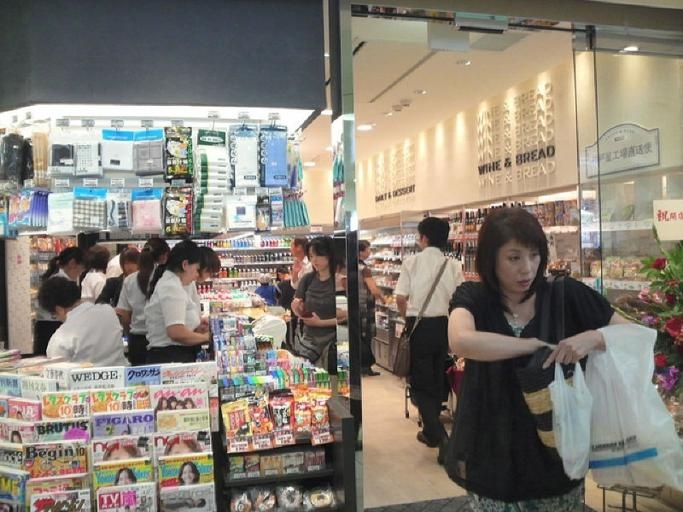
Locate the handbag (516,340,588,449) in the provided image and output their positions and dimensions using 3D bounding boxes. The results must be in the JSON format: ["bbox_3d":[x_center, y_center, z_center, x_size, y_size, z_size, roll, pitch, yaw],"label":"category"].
[{"bbox_3d":[0.963,0.629,2.790,0.327,0.439,0.238,-28,8,-29],"label":"handbag"}]

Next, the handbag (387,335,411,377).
[{"bbox_3d":[0.532,0.892,5.457,0.145,0.435,0.286,-1,3,5],"label":"handbag"}]

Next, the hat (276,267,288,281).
[{"bbox_3d":[-0.905,0.258,9.277,0.224,0.243,0.162,2,1,-12],"label":"hat"}]

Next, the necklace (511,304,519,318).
[{"bbox_3d":[0.838,0.267,2.962,0.040,0.062,0.016,5,-5,16],"label":"necklace"}]

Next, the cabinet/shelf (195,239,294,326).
[{"bbox_3d":[-1.146,0.274,7.274,0.790,0.917,0.274,2,-3,-21],"label":"cabinet/shelf"}]
